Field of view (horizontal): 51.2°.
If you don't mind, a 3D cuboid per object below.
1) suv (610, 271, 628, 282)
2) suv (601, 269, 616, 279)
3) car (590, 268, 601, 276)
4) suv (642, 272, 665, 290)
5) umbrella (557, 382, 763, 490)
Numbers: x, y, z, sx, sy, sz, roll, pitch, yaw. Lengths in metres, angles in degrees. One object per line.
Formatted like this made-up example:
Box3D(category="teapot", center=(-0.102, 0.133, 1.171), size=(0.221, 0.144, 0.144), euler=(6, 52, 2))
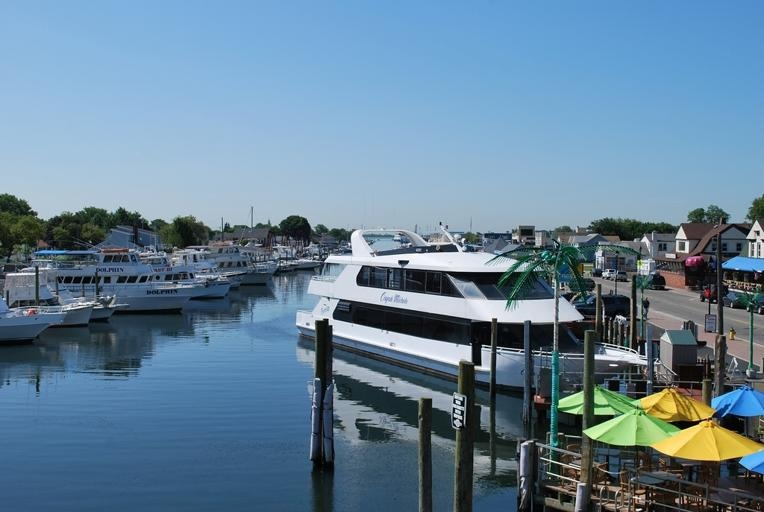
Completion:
Box3D(category="suv", center=(25.909, 2.298, 87.989), size=(1.316, 0.957, 2.178), euler=(0, 5, -1))
Box3D(category="suv", center=(26.261, 2.109, 92.914), size=(1.024, 0.834, 1.811), euler=(-1, 6, -12))
Box3D(category="car", center=(27.617, 2.175, 102.869), size=(0.947, 0.761, 1.662), euler=(-1, -1, -6))
Box3D(category="suv", center=(25.948, 2.497, 76.348), size=(1.378, 1.089, 2.182), euler=(0, 9, 12))
Box3D(category="umbrella", center=(10.435, 6.842, 29.761), size=(3.736, 1.274, 3.747), euler=(-7, 7, -43))
